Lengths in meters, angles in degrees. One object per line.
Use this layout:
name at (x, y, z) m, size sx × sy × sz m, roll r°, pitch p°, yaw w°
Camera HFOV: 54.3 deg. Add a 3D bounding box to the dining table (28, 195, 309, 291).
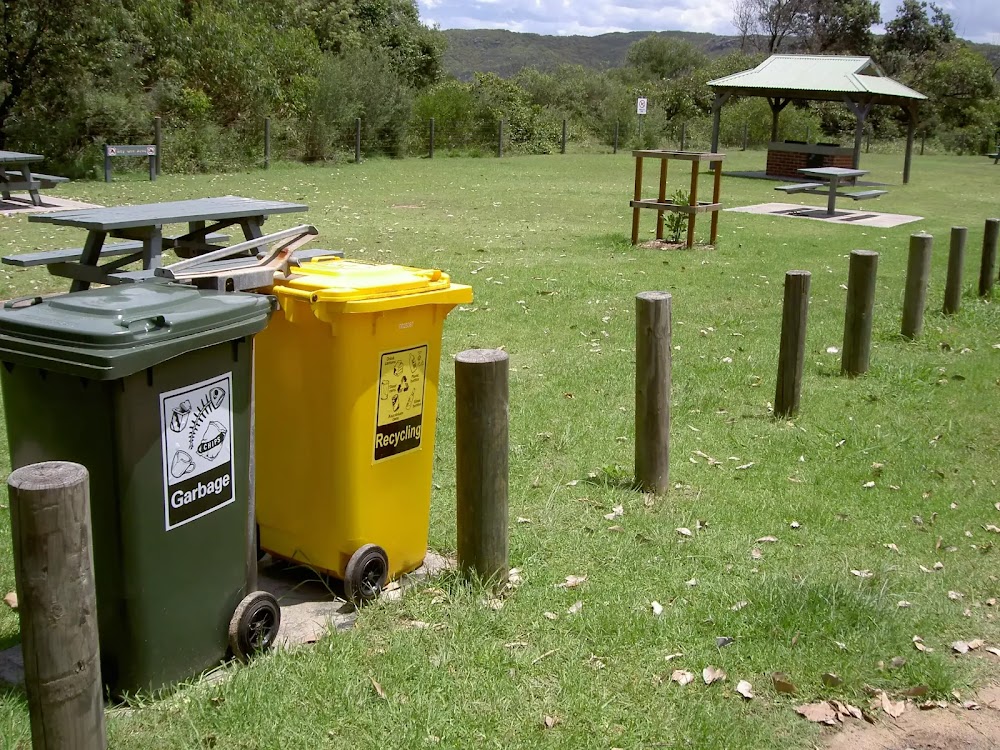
dining table at (-2.370, -0.891, 6.691) m, size 1.323 × 0.563 × 1.636 m, roll 11°, pitch 18°, yaw 31°
